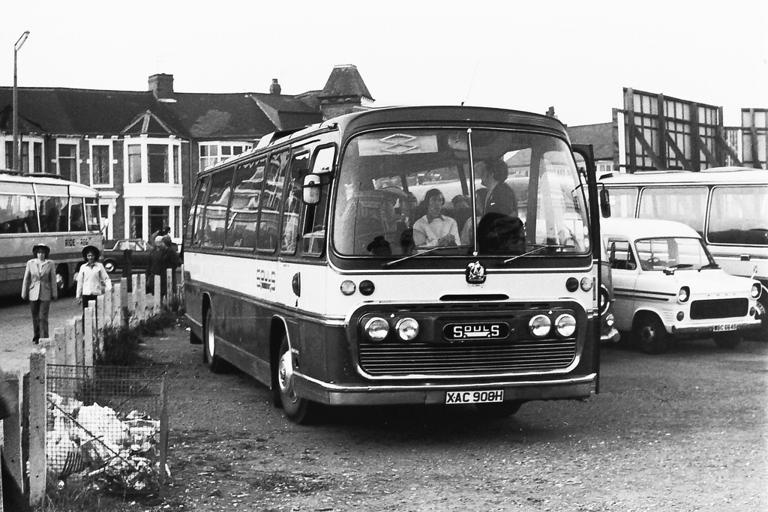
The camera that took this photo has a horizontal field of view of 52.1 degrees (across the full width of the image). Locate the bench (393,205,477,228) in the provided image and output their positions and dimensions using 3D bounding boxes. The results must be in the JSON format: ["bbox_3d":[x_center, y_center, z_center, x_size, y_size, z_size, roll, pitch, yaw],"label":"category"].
[{"bbox_3d":[0.626,-0.506,9.787,0.964,0.261,0.069,-1,2,-9],"label":"bench"}]

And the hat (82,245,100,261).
[{"bbox_3d":[-8.289,-0.071,22.130,0.545,0.622,0.240,3,-4,1],"label":"hat"}]
